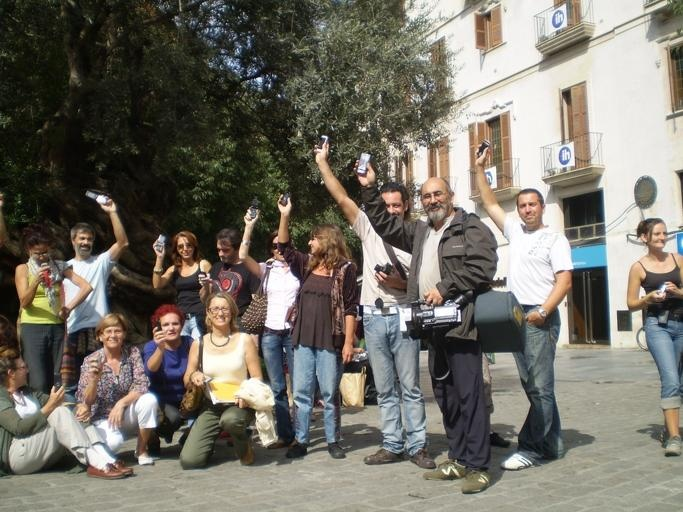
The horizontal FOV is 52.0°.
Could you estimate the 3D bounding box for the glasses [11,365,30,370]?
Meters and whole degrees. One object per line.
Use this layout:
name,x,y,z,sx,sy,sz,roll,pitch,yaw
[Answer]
glasses,-3.734,1.294,8.116,0.129,0.038,0.130,2,-23,-23

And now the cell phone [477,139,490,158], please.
cell phone,1.641,-1.245,8.062,0.050,0.117,0.208,2,-42,-33

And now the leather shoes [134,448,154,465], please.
leather shoes,-2.331,2.367,8.315,0.221,0.211,0.213,-2,-6,-18

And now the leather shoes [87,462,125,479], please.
leather shoes,-2.632,2.404,7.856,0.398,0.158,0.164,-3,-9,11

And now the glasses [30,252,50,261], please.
glasses,-3.954,0.015,9.195,0.219,0.091,0.171,-1,-6,-26

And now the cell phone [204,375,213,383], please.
cell phone,-1.620,1.483,8.439,0.071,0.102,0.127,-8,-7,39

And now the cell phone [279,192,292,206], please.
cell phone,-0.698,-0.708,8.720,0.113,0.064,0.220,33,-48,0

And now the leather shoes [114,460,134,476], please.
leather shoes,-2.496,2.392,7.915,0.312,0.121,0.109,9,-2,31

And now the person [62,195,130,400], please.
person,-3.600,0.683,9.526,1.247,2.982,0.894,1,9,-15

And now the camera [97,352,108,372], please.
camera,-2.848,1.264,8.332,0.123,0.069,0.450,21,-9,-18

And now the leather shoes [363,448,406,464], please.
leather shoes,0.512,2.346,8.260,0.461,0.214,0.175,3,-9,-9

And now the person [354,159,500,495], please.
person,1.090,0.728,7.629,1.290,3.498,0.690,-5,-6,15

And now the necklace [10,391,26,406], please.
necklace,-3.722,1.675,8.076,0.121,0.186,0.086,0,-32,-47

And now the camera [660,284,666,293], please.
camera,3.940,0.394,8.566,0.073,0.099,0.067,-6,-6,23

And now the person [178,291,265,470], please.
person,-1.460,1.466,8.451,0.984,2.068,0.466,-2,-6,-9

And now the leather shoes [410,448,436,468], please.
leather shoes,0.934,2.318,8.019,0.127,0.154,0.350,0,-8,-26

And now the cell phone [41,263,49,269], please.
cell phone,-3.834,0.125,9.048,0.078,0.080,0.080,0,-9,-2

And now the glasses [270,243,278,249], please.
glasses,-0.896,-0.129,9.396,0.075,0.076,0.076,2,-7,-18

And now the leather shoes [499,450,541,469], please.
leather shoes,2.011,2.303,7.864,0.421,0.206,0.181,1,1,-12

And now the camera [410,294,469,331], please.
camera,1.015,0.583,7.334,0.499,0.315,0.329,-2,1,2
